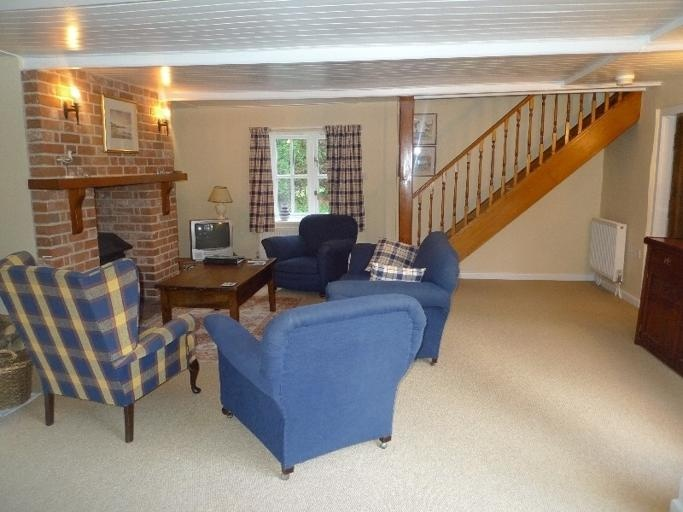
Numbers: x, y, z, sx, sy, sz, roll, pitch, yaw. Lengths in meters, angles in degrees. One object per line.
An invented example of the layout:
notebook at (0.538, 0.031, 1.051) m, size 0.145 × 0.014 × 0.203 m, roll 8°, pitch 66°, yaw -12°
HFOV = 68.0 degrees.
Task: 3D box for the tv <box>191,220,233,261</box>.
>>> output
tv at (-1.769, -0.214, 6.839) m, size 0.549 × 0.535 × 0.291 m, roll -3°, pitch 7°, yaw -31°

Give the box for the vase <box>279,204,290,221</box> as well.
vase at (-0.892, -0.703, 8.048) m, size 0.218 × 0.293 × 0.218 m, roll 1°, pitch 4°, yaw -3°

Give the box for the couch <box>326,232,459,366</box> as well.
couch at (0.446, 0.246, 4.895) m, size 1.228 × 1.147 × 1.532 m, roll 0°, pitch 6°, yaw 7°

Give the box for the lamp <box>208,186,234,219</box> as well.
lamp at (-1.824, -0.808, 7.727) m, size 0.309 × 0.565 × 0.757 m, roll -6°, pitch 16°, yaw -9°

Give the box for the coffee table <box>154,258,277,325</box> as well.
coffee table at (-1.367, 0.314, 5.324) m, size 0.724 × 0.518 × 0.994 m, roll 3°, pitch 11°, yaw 12°

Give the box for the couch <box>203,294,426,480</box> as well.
couch at (-0.190, 0.819, 3.367) m, size 1.469 × 1.196 × 0.639 m, roll 0°, pitch 17°, yaw 10°

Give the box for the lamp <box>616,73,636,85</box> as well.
lamp at (3.001, -1.871, 5.313) m, size 0.136 × 0.071 × 0.136 m, roll -1°, pitch 7°, yaw 6°
